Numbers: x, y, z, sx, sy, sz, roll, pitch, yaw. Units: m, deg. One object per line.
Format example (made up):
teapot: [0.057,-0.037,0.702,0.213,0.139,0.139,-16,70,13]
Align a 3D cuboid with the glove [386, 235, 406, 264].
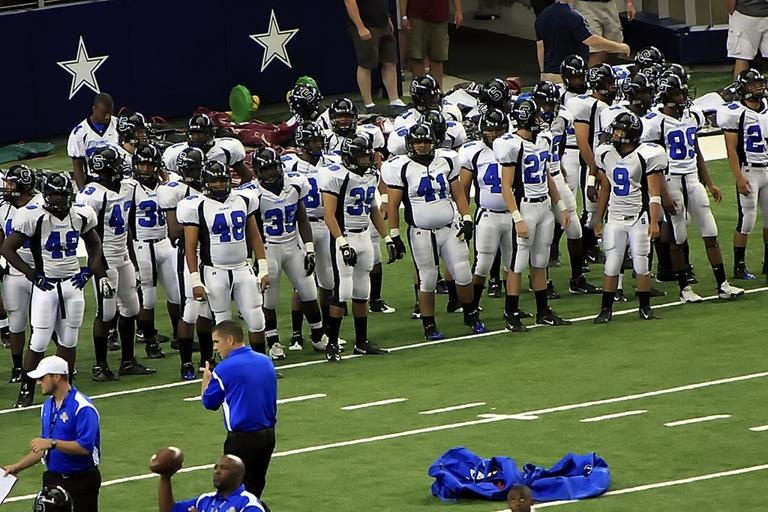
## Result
glove: [0.125,-0.102,11.218,0.183,0.246,0.297,-6,-2,0]

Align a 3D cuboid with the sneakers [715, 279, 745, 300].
sneakers: [4.262,0.385,12.281,0.462,0.268,0.143,-6,12,17]

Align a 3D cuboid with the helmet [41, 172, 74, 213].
helmet: [-3.257,-0.665,10.013,0.337,0.367,0.408,-3,19,-20]

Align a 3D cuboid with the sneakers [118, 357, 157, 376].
sneakers: [-2.702,1.185,10.967,0.354,0.137,0.294,-3,-3,-32]

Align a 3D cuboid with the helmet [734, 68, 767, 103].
helmet: [4.531,-2.145,12.541,0.437,0.339,0.394,6,12,41]

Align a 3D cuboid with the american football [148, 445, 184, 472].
american football: [-1.473,1.355,6.695,0.187,0.123,0.225,-24,12,-33]

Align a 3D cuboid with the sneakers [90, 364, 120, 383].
sneakers: [-3.023,1.241,10.811,0.274,0.105,0.160,1,2,42]

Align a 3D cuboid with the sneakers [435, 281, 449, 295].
sneakers: [0.749,0.387,13.222,0.137,0.159,0.183,-6,-2,4]

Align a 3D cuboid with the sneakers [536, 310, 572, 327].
sneakers: [1.947,0.708,11.728,0.501,0.185,0.153,1,12,10]

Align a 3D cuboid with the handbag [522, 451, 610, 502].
handbag: [1.486,1.779,8.110,0.498,0.106,0.420,-4,11,-10]

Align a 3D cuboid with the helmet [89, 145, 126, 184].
helmet: [-2.917,-1.013,10.807,0.512,0.385,0.349,-10,21,-19]

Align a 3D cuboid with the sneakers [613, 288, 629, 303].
sneakers: [2.971,0.471,12.523,0.144,0.156,0.325,-7,-3,24]

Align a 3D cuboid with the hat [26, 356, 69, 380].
hat: [-2.521,0.805,7.436,0.329,0.141,0.193,2,0,-4]

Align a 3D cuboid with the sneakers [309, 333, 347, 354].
sneakers: [-0.635,0.996,11.501,0.482,0.165,0.142,-1,22,-2]

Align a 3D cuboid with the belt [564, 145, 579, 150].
belt: [2.522,-1.478,13.479,0.181,0.050,0.064,-6,-2,40]

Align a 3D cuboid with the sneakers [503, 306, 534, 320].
sneakers: [1.610,0.663,12.055,0.426,0.134,0.127,0,9,1]

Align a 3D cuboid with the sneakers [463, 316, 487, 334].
sneakers: [1.067,0.782,11.744,0.130,0.117,0.298,-20,16,-15]

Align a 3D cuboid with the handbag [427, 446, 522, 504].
handbag: [0.740,1.758,8.184,0.744,0.358,0.418,-5,-2,1]

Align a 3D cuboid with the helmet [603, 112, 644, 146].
helmet: [2.630,-1.456,11.364,0.472,0.310,0.317,-4,8,-13]

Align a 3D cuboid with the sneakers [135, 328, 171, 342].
sneakers: [-2.725,0.933,11.879,0.513,0.178,0.151,3,20,-8]

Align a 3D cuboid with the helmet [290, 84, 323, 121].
helmet: [-0.914,-1.884,12.415,0.572,0.473,0.425,0,10,-14]

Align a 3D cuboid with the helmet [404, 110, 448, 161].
helmet: [0.455,-1.401,11.292,0.466,0.319,0.659,16,48,13]

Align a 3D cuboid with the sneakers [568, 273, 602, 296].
sneakers: [2.525,0.363,12.810,0.518,0.252,0.165,0,17,6]

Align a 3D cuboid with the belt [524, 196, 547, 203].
belt: [1.725,-0.650,11.413,0.295,0.058,0.050,-4,-3,-24]

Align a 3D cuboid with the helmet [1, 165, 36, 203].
helmet: [-3.653,-0.726,10.072,0.435,0.416,0.340,1,7,-11]

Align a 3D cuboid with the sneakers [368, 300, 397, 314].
sneakers: [-0.043,0.619,12.685,0.407,0.127,0.138,1,3,3]

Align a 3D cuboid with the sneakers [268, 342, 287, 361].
sneakers: [-1.183,1.056,11.142,0.134,0.226,0.147,5,-43,-16]

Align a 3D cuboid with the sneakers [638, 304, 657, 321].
sneakers: [3.073,0.647,11.775,0.132,0.083,0.222,-3,3,-8]

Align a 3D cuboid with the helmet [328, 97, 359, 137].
helmet: [-0.455,-1.584,11.427,0.431,0.387,0.499,-1,11,-7]

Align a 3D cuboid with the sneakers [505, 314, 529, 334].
sneakers: [1.529,0.745,11.697,0.253,0.207,0.173,-6,-2,16]

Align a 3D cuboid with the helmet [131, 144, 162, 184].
helmet: [-2.565,-0.995,10.838,0.365,0.383,0.444,2,10,-9]

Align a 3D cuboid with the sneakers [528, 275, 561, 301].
sneakers: [2.076,0.399,12.947,0.227,0.230,0.601,-8,4,-9]

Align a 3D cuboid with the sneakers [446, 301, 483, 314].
sneakers: [0.993,0.606,12.314,0.506,0.172,0.147,-3,4,13]

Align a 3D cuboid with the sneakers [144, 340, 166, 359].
sneakers: [-2.618,1.062,11.449,0.287,0.223,0.141,-9,-1,-8]

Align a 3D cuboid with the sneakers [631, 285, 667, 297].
sneakers: [3.315,0.415,12.655,0.500,0.172,0.154,1,8,12]

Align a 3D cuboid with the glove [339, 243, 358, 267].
glove: [-0.374,-0.026,10.742,0.110,0.229,0.175,-26,-14,-34]

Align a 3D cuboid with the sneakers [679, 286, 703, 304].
sneakers: [3.717,0.448,12.245,0.165,0.124,0.292,-8,11,-28]

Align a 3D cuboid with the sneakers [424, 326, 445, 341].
sneakers: [0.569,0.870,11.550,0.214,0.141,0.119,-5,-2,0]

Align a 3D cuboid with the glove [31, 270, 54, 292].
glove: [-3.383,0.227,9.935,0.229,0.137,0.167,-5,-2,3]

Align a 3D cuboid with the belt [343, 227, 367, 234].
belt: [-0.312,-0.297,11.020,0.269,0.052,0.055,-4,-3,-15]

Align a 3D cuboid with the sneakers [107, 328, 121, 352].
sneakers: [-3.197,0.960,11.848,0.131,0.190,0.282,-6,-2,-14]

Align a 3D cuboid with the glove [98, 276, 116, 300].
glove: [-2.791,0.296,10.223,0.177,0.223,0.098,-27,12,39]

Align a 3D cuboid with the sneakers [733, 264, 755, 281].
sneakers: [4.648,0.202,12.840,0.346,0.189,0.126,0,3,23]

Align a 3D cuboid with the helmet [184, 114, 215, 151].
helmet: [-2.040,-1.404,11.227,0.345,0.349,0.420,1,5,3]

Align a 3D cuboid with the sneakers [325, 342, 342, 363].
sneakers: [-0.575,1.046,11.191,0.178,0.175,0.202,-6,-2,0]

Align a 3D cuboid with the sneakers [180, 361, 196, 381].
sneakers: [-2.095,1.212,10.715,0.228,0.219,0.591,1,-3,-15]

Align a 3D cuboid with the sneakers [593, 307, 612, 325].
sneakers: [2.543,0.686,11.732,0.216,0.152,0.111,-6,-2,7]

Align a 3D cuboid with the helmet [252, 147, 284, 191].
helmet: [-1.197,-0.934,10.563,0.352,0.418,0.443,-18,22,-8]

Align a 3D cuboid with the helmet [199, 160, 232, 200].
helmet: [-1.664,-0.768,9.974,0.273,0.318,0.288,-5,-2,-9]

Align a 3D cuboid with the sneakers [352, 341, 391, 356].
sneakers: [-0.163,1.030,11.259,0.461,0.145,0.137,-1,-5,6]

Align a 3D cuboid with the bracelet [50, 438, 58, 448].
bracelet: [-2.377,1.339,7.233,0.042,0.043,0.042,3,-18,-17]
